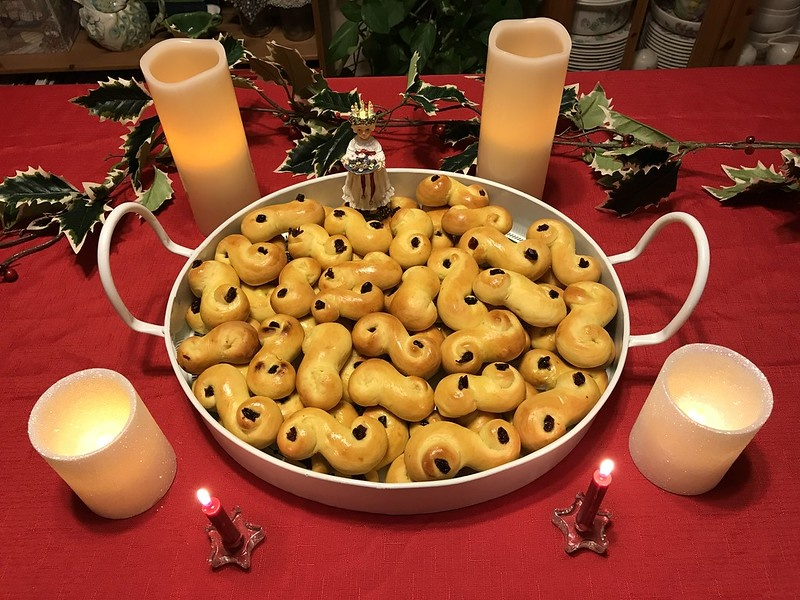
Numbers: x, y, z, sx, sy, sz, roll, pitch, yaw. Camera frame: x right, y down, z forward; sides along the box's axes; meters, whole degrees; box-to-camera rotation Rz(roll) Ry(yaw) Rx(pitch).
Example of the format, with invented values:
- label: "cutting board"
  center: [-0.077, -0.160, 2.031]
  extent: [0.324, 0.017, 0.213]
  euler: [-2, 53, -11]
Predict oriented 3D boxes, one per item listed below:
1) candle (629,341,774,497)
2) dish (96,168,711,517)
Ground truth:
- label: "candle"
  center: [0.280, 0.117, 0.551]
  extent: [0.089, 0.110, 0.094]
  euler: [0, 45, 6]
- label: "dish"
  center: [-0.005, -0.002, 0.604]
  extent: [0.594, 0.165, 0.396]
  euler: [9, 51, 9]
